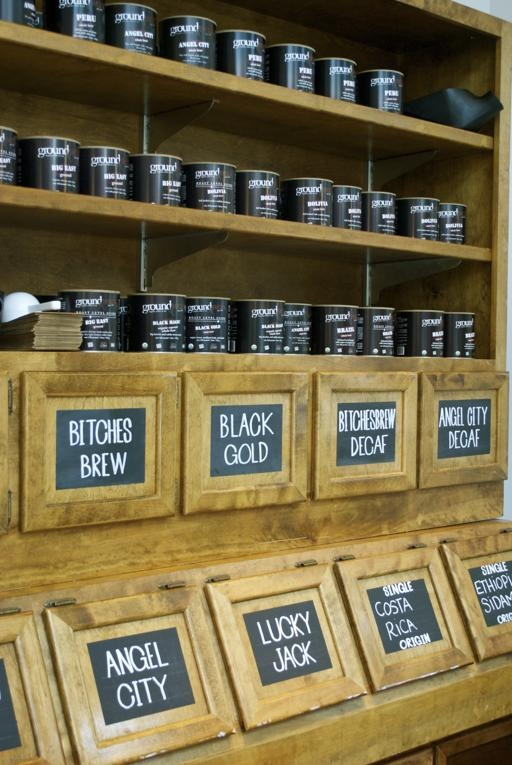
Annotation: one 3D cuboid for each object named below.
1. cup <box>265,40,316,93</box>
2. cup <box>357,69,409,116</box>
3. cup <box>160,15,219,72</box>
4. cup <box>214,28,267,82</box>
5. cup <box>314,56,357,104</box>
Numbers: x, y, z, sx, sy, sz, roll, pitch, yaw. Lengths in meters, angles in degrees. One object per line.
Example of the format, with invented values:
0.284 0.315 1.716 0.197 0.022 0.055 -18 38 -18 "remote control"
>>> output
0.076 -0.652 1.459 0.102 0.103 0.104 3 -82 24 "cup"
0.291 -0.671 1.601 0.111 0.106 0.081 1 -86 -3 "cup"
-0.122 -0.638 1.331 0.109 0.110 0.113 1 -86 20 "cup"
-0.026 -0.643 1.398 0.105 0.106 0.107 6 -79 31 "cup"
0.178 -0.659 1.542 0.099 0.101 0.101 3 -83 29 "cup"
